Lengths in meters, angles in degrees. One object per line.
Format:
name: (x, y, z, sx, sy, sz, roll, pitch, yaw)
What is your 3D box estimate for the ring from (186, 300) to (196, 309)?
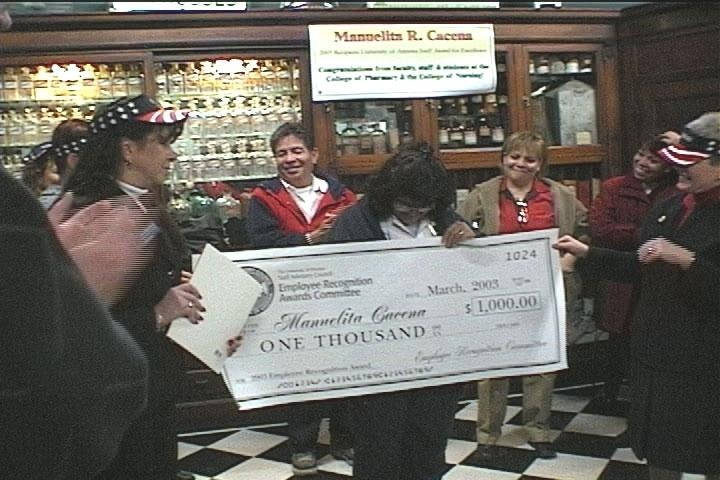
ring: (-0.544, 0.205, 2.135, 0.033, 0.026, 0.009, 3, 3, -1)

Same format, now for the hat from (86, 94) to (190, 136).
hat: (-0.718, -0.407, 2.143, 0.235, 0.060, 0.140, -10, 13, -8)

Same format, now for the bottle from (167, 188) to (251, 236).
bottle: (-0.528, -0.110, 2.350, 0.243, 0.062, 0.168, 16, 31, 6)

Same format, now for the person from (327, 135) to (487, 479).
person: (0.167, 0.264, 2.314, 0.496, 1.182, 0.194, -6, 11, -3)
